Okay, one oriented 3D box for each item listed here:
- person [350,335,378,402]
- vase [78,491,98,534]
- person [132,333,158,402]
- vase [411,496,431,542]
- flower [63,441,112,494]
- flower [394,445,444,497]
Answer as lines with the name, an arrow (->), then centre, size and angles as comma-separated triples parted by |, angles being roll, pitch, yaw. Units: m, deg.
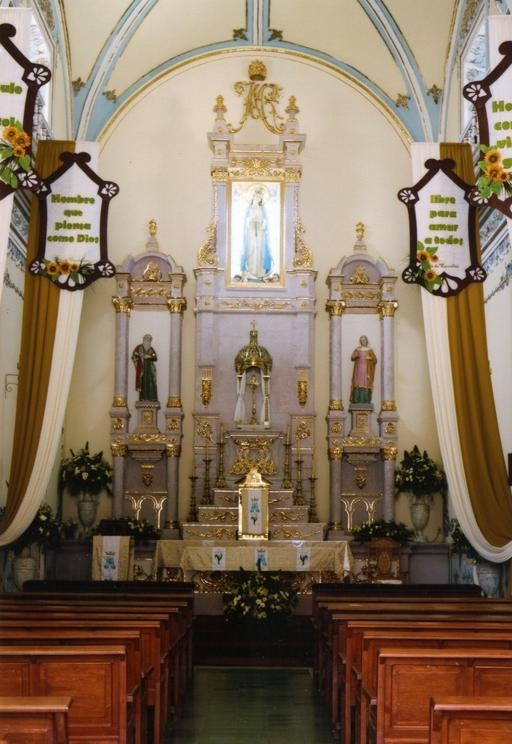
person -> 1.477, -0.031, 14.157 | 0.361, 0.953, 0.297 | 0, -8, 5
vase -> -2.255, 1.859, 13.755 | 0.296, 0.518, 0.459 | 2, -8, -10
person -> -1.525, -0.045, 14.050 | 0.352, 0.924, 0.274 | 2, -8, -9
vase -> 2.212, 1.941, 13.834 | 0.284, 0.581, 0.460 | 0, -8, 8
flower -> -2.276, 1.316, 13.713 | 0.656, 0.730, 0.635 | 1, -42, -15
flower -> 2.163, 1.285, 13.937 | 0.675, 0.792, 0.710 | -2, -1, -11
